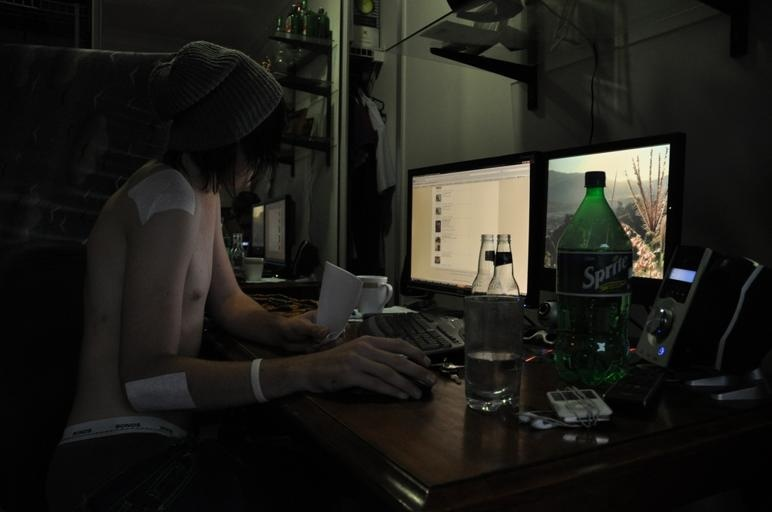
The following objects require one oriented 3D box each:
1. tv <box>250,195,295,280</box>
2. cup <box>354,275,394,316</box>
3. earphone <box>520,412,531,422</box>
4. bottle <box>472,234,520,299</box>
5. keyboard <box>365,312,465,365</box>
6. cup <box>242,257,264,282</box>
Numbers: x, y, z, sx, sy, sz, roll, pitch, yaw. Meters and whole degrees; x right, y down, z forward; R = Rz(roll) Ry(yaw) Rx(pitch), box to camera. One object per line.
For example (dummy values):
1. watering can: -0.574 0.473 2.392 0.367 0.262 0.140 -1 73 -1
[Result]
1. tv: -0.667 -0.105 3.425 0.105 0.378 0.526 2 -2 -23
2. cup: -0.046 0.128 1.831 0.131 0.129 0.090 4 2 44
3. earphone: 0.242 0.278 1.001 0.013 0.005 0.014 12 34 41
4. bottle: 0.288 0.017 1.503 0.114 0.155 0.254 2 5 9
5. keyboard: 0.090 0.189 1.416 0.235 0.065 0.321 3 7 -25
6. cup: -0.654 0.065 2.949 0.126 0.117 0.084 0 -2 22
